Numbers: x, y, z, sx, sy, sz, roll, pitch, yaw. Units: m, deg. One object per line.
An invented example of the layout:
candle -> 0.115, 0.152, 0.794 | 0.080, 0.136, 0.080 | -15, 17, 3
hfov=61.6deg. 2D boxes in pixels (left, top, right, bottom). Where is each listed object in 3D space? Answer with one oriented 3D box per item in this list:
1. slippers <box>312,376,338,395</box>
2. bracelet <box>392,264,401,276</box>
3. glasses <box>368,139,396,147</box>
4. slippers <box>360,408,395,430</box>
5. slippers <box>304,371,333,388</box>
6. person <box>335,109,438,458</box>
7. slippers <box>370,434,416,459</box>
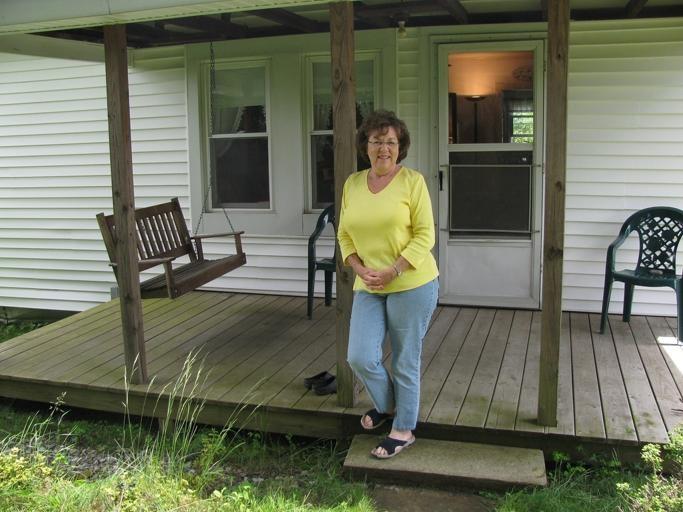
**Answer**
slippers -> -0.124, 0.938, 4.137 | 0.175, 0.098, 0.273 | -3, 15, -3
bracelet -> 0.323, 0.078, 3.313 | 0.015, 0.051, 0.050 | -18, 3, 2
glasses -> 0.240, -0.667, 3.370 | 0.153, 0.034, 0.039 | 0, 15, 9
slippers -> 0.238, 1.059, 3.779 | 0.095, 0.073, 0.264 | 31, 19, 33
slippers -> -0.161, 0.911, 4.234 | 0.241, 0.075, 0.087 | -16, 21, -41
person -> 0.287, 0.180, 3.528 | 0.582, 2.088, 0.480 | -2, 14, 1
slippers -> 0.330, 1.191, 3.642 | 0.289, 0.089, 0.104 | -12, 8, -33
